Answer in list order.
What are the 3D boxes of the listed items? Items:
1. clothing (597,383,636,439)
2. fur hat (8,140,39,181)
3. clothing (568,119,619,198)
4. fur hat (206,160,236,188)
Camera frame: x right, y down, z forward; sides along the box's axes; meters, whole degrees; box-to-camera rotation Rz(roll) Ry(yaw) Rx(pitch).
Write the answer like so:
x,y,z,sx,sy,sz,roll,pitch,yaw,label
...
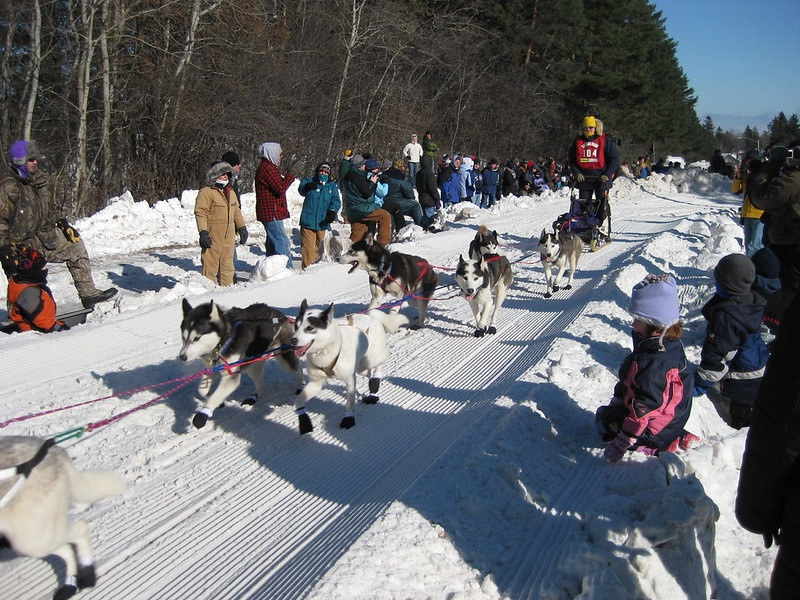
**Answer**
x,y,z,sx,sy,sz,roll,pitch,yaw,label
1.850,1.018,5.340,0.176,0.449,0.273,29,-23,7,clothing
-4.730,-1.787,7.685,0.315,0.453,0.213,-10,17,-35,fur hat
3.704,-2.366,11.777,0.883,2.384,0.736,8,30,31,clothing
-2.778,-1.985,9.586,0.314,0.374,0.638,4,16,17,fur hat
